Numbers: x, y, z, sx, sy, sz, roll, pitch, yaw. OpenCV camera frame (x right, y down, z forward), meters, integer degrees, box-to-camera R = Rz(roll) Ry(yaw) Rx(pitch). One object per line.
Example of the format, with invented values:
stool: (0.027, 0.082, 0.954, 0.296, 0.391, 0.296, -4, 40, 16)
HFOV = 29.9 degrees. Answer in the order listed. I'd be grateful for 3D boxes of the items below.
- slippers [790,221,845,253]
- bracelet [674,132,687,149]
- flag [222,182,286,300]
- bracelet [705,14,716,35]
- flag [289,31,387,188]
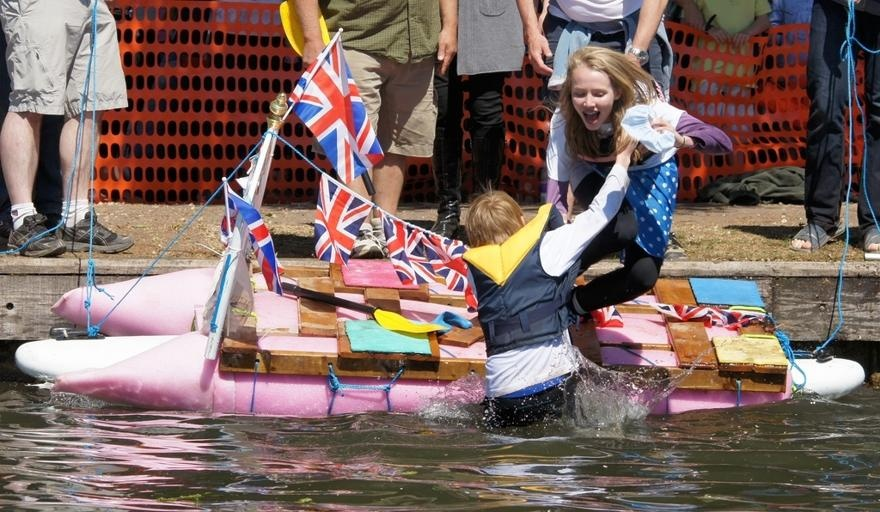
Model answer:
slippers: (3.204, -0.182, 14.010, 0.606, 0.187, 0.199, -10, 19, -19)
bracelet: (1.812, -0.869, 12.241, 0.041, 0.117, 0.085, -48, -9, -16)
flag: (-1.412, -0.140, 12.438, 0.457, 0.857, 0.361, -1, 11, -11)
bracelet: (2.791, -2.402, 16.906, 0.042, 0.168, 0.122, -9, 15, -43)
flag: (-0.820, -1.160, 12.789, 0.748, 1.179, 0.200, -3, 12, -24)
